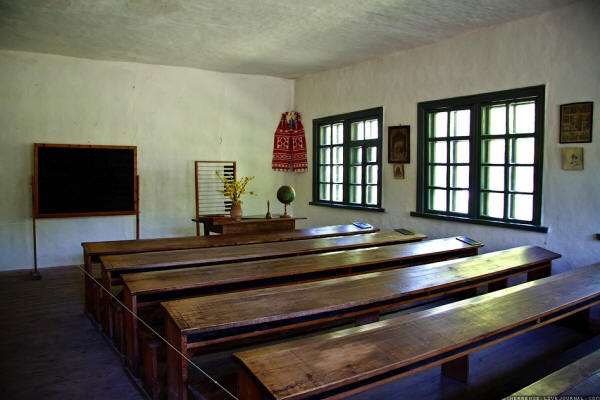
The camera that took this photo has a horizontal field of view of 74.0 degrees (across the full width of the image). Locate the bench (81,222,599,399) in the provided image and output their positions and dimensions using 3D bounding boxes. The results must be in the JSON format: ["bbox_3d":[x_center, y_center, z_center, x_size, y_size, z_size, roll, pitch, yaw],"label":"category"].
[{"bbox_3d":[0.019,1.011,4.562,4.643,1.099,2.736,-4,5,-22],"label":"bench"}]

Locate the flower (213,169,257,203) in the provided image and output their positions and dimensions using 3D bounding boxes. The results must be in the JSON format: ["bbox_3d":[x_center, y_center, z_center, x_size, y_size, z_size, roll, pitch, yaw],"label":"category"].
[{"bbox_3d":[-1.196,-0.252,7.461,0.826,0.501,0.764,-2,7,-29],"label":"flower"}]

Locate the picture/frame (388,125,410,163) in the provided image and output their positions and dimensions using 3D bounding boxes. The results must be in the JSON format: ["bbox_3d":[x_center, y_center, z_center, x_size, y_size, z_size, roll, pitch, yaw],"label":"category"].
[{"bbox_3d":[1.754,-0.981,7.071,0.425,0.677,0.071,2,7,43],"label":"picture/frame"}]

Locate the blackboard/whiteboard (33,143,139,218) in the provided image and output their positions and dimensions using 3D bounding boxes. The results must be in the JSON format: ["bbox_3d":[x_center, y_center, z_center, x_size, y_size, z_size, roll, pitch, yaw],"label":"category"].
[{"bbox_3d":[-3.840,-0.359,7.163,1.836,1.318,0.113,0,0,-4],"label":"blackboard/whiteboard"}]
